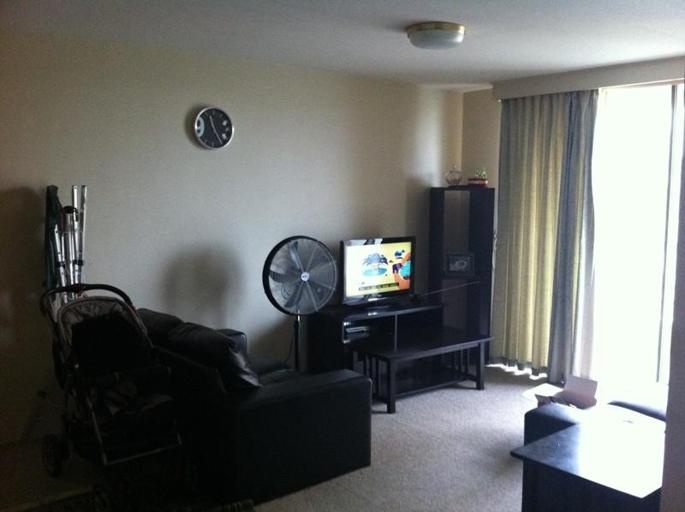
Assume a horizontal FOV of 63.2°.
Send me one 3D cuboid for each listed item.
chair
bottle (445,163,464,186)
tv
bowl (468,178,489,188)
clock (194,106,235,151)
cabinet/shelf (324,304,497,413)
[{"bbox_3d":[-0.525,0.498,3.406,0.899,0.865,1.568,-8,9,-35],"label":"chair"},{"bbox_3d":[1.092,-0.794,5.499,0.157,0.206,0.368,3,11,11],"label":"bottle"},{"bbox_3d":[0.288,0.139,4.894,0.576,0.433,0.149,-6,11,-32],"label":"tv"},{"bbox_3d":[1.288,-0.701,5.304,0.173,0.083,0.182,2,11,0],"label":"bowl"},{"bbox_3d":[-0.978,-0.960,4.205,0.313,0.316,0.032,-7,13,-40],"label":"clock"},{"bbox_3d":[0.533,0.739,4.840,1.034,0.605,0.951,-4,6,-32],"label":"cabinet/shelf"}]
